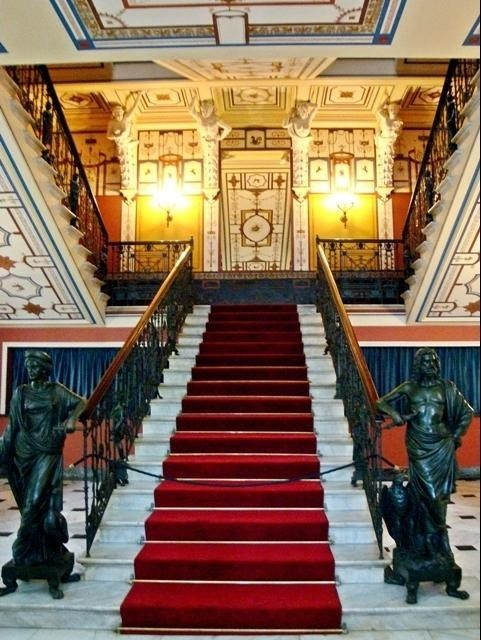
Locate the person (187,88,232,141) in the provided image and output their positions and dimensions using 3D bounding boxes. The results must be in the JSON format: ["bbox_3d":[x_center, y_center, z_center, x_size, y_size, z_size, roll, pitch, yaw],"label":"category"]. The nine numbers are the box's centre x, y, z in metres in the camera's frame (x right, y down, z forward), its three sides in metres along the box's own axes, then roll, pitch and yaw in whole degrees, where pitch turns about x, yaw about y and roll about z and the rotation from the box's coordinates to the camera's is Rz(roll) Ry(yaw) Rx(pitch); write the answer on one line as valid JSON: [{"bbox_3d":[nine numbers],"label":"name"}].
[{"bbox_3d":[-0.553,-3.722,9.345,0.785,1.284,0.372,-2,50,4],"label":"person"}]

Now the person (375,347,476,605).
[{"bbox_3d":[1.125,0.913,3.168,0.573,1.352,0.795,-2,10,2],"label":"person"}]
